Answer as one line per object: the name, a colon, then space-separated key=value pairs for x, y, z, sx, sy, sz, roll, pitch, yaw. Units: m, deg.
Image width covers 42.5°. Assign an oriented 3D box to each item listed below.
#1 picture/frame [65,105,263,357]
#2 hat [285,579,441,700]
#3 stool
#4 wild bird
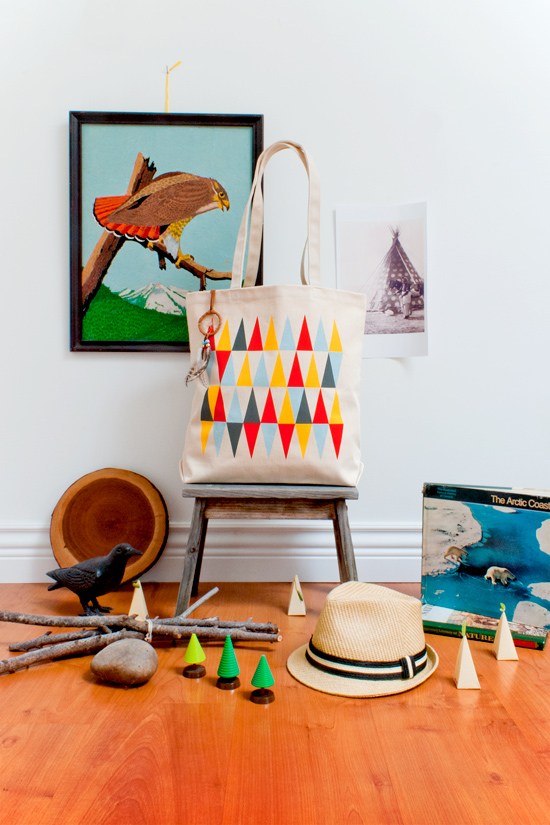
picture/frame: x=-0.241 y=-0.413 z=1.514 sx=0.549 sy=0.658 sz=0.029 roll=1 pitch=3 yaw=-3
hat: x=0.134 y=0.326 z=1.048 sx=0.227 sy=0.120 sz=0.240 roll=4 pitch=-6 yaw=-33
stool: x=-0.012 y=0.254 z=1.368 sx=0.357 sy=0.241 sz=0.288 roll=2 pitch=1 yaw=-9
wild bird: x=-0.335 y=0.300 z=1.294 sx=0.168 sy=0.129 sz=0.078 roll=2 pitch=2 yaw=9
